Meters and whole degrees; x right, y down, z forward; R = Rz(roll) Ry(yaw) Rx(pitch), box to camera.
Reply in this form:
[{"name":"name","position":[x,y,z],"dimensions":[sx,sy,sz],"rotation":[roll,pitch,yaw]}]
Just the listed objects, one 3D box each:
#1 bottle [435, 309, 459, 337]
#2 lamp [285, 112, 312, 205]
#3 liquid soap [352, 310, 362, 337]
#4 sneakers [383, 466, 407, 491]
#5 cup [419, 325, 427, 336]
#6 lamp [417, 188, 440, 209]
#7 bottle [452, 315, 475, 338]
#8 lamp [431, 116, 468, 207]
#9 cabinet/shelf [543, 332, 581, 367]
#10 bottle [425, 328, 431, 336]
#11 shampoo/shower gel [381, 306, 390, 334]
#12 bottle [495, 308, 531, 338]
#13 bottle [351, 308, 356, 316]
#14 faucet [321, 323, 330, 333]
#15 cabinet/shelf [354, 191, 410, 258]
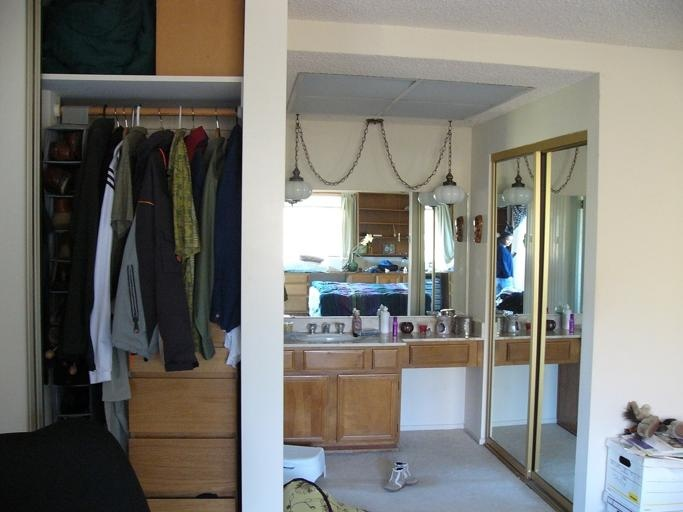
[{"name":"bottle","position":[0.956,0.610,5.606],"dimensions":[0.247,0.221,0.151],"rotation":[3,-4,-16]},{"name":"lamp","position":[-0.391,-0.846,5.404],"dimensions":[0.218,0.801,0.459],"rotation":[-1,9,-5]},{"name":"liquid soap","position":[0.132,0.604,5.544],"dimensions":[0.094,0.200,0.257],"rotation":[0,9,2]},{"name":"sneakers","position":[0.425,1.677,4.714],"dimensions":[0.189,0.139,0.307],"rotation":[1,9,8]},{"name":"cup","position":[0.747,0.682,5.611],"dimensions":[0.070,0.080,0.071],"rotation":[0,6,0]},{"name":"lamp","position":[0.795,-0.538,5.648],"dimensions":[0.167,0.147,0.130],"rotation":[-3,5,-14]},{"name":"bottle","position":[1.085,0.635,5.514],"dimensions":[0.191,0.166,0.153],"rotation":[0,1,-10]},{"name":"lamp","position":[0.967,-0.834,5.536],"dimensions":[0.306,0.773,0.508],"rotation":[2,9,11]},{"name":"cabinet/shelf","position":[1.660,0.721,4.653],"dimensions":[0.196,0.232,0.381],"rotation":[0,0,-10]},{"name":"bottle","position":[0.796,0.701,5.635],"dimensions":[0.055,0.095,0.052],"rotation":[1,6,0]},{"name":"shampoo/shower gel","position":[0.390,0.577,5.579],"dimensions":[0.086,0.201,0.244],"rotation":[1,9,4]},{"name":"bottle","position":[1.422,0.569,5.115],"dimensions":[0.142,0.151,0.220],"rotation":[1,-4,-19]},{"name":"bottle","position":[0.112,0.508,5.611],"dimensions":[0.033,0.048,0.048],"rotation":[3,-2,15]},{"name":"faucet","position":[-0.147,0.650,5.563],"dimensions":[0.076,0.084,0.062],"rotation":[-1,9,-8]},{"name":"cabinet/shelf","position":[0.341,-0.299,5.669],"dimensions":[0.611,0.693,0.181],"rotation":[0,-1,-7]}]
